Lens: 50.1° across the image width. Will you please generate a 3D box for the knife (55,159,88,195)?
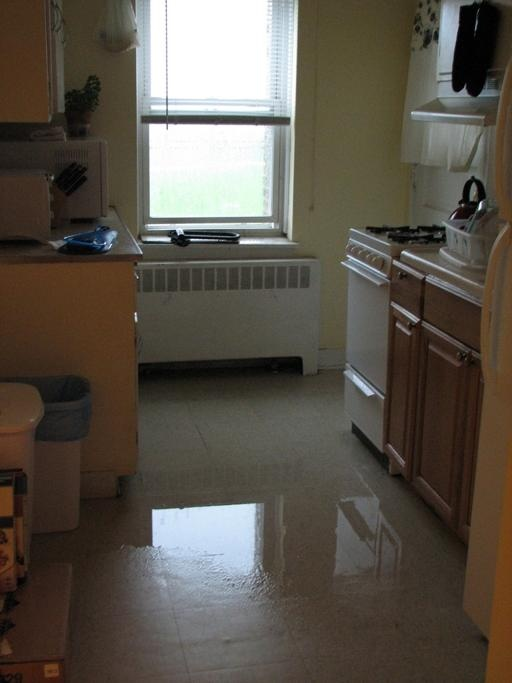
[{"bbox_3d":[-0.891,-0.787,2.632,0.162,0.113,0.043,-47,11,6],"label":"knife"}]
